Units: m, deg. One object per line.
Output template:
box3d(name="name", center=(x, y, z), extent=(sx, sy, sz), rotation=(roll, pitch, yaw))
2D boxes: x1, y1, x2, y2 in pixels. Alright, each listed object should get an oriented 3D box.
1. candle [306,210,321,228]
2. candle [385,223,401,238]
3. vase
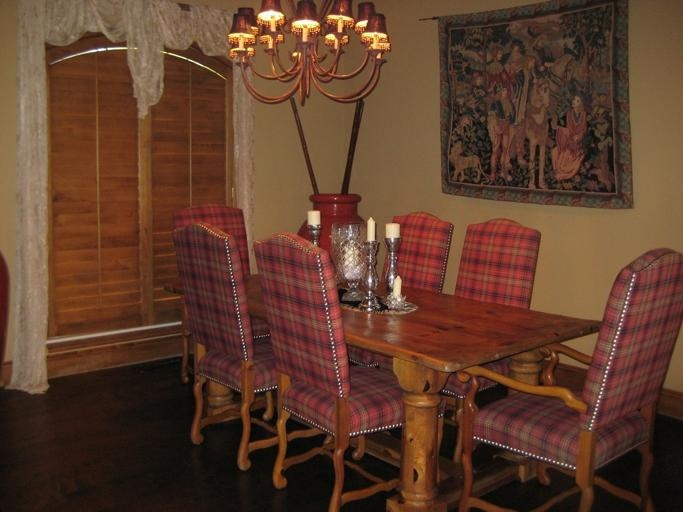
box3d(name="candle", center=(-0.153, -0.218, 3.296), extent=(0.098, 0.109, 0.097), rotation=(0, 1, 6))
box3d(name="candle", center=(0.264, -0.134, 2.938), extent=(0.078, 0.083, 0.079), rotation=(3, 5, 23))
box3d(name="vase", center=(-0.071, -0.182, 4.292), extent=(0.620, 0.584, 0.564), rotation=(-3, 12, -26))
